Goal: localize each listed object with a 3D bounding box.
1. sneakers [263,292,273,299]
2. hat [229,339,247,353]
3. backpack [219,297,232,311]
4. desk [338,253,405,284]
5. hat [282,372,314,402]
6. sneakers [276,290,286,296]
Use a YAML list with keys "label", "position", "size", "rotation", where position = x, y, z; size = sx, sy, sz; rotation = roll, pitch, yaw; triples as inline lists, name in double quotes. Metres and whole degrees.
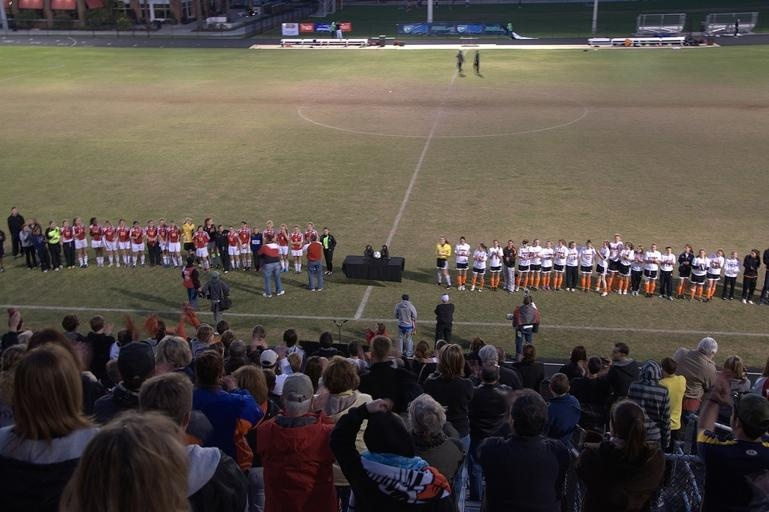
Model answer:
- label: "sneakers"
  position: [-5.048, 1.636, 41.593]
  size: [0.452, 0.157, 0.183]
  rotation: [8, -27, 8]
- label: "hat"
  position: [-4.457, 2.691, 29.461]
  size: [0.467, 0.515, 0.398]
  rotation: [9, 49, -12]
- label: "backpack"
  position: [-6.327, 1.851, 38.575]
  size: [0.385, 0.410, 0.636]
  rotation: [-21, 6, -10]
- label: "desk"
  position: [-0.513, 0.509, 42.879]
  size: [2.278, 0.729, 1.211]
  rotation: [3, 25, 9]
- label: "hat"
  position: [-2.292, 3.415, 25.728]
  size: [0.983, 0.602, 1.329]
  rotation: [4, -4, -3]
- label: "sneakers"
  position: [-4.495, 1.526, 41.747]
  size: [0.251, 0.239, 0.638]
  rotation: [1, 4, 5]
